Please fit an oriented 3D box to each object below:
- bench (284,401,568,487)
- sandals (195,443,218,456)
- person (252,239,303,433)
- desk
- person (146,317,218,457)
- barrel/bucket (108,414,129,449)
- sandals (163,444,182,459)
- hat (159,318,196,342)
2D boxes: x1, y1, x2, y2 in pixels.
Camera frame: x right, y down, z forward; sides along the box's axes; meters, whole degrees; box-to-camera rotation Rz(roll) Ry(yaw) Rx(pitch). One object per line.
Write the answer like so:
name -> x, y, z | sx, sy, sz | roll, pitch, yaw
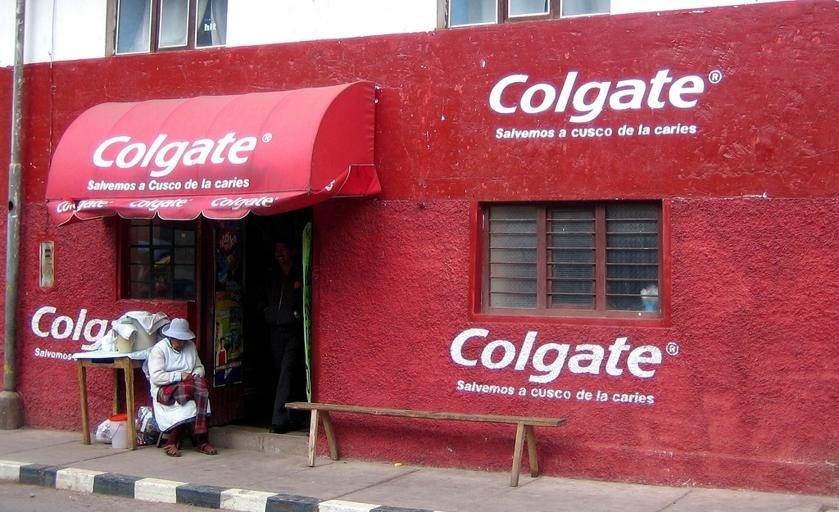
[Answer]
bench -> 0.013, 2.327, 11.206 | 3.667, 0.712, 0.718 | 0, -3, 19
sandals -> -2.818, 2.588, 11.881 | 0.256, 0.078, 0.126 | -1, 0, 31
person -> -1.888, 1.114, 12.450 | 0.423, 2.638, 0.529 | 3, -3, -31
desk -> -4.244, 1.988, 12.335 | 1.089, 1.264, 0.744 | 0, -3, 8
person -> -3.201, 1.743, 11.961 | 0.893, 1.800, 0.410 | 1, -3, -14
barrel/bucket -> -4.058, 2.391, 12.095 | 0.171, 0.440, 0.359 | 3, -4, -43
sandals -> -3.233, 2.570, 11.755 | 0.121, 0.087, 0.236 | 3, -6, -39
hat -> -3.272, 0.972, 11.998 | 0.370, 0.164, 0.377 | -1, 3, -30
